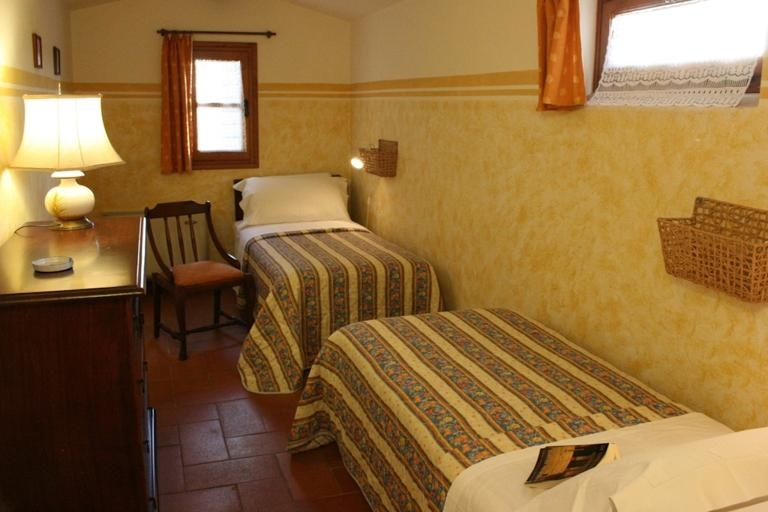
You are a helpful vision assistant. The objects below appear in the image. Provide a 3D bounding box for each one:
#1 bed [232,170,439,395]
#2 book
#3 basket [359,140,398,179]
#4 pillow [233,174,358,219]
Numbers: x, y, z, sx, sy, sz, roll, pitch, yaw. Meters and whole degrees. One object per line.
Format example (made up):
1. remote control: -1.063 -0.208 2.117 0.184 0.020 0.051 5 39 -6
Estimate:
1. bed: -0.488 0.031 4.989 1.772 1.192 2.209 -5 17 -18
2. book: 0.699 0.770 2.129 0.257 0.184 0.073 -19 53 -8
3. basket: -0.037 -0.875 5.122 0.178 0.256 0.409 -7 16 -26
4. pillow: -0.896 -0.660 5.638 1.092 0.230 0.910 -15 25 -11
